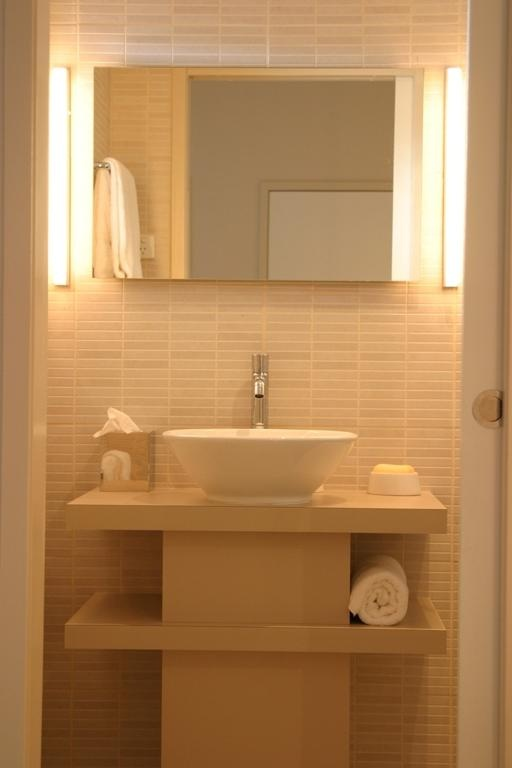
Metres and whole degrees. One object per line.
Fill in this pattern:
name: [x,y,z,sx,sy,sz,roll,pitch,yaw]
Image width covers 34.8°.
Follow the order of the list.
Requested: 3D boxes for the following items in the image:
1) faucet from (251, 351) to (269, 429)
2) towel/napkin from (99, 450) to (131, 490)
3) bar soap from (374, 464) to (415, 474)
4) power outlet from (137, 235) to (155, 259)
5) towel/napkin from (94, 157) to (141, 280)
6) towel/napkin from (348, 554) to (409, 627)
faucet: [0.010,0.014,2.024,0.041,0.178,0.102,0,8,1]
towel/napkin: [-0.325,0.200,1.906,0.079,0.120,0.062,1,2,3]
bar soap: [0.321,0.196,1.927,0.095,0.020,0.097,1,9,5]
power outlet: [-0.282,-0.347,2.077,0.055,0.082,0.009,0,-2,-3]
towel/napkin: [-0.352,-0.418,2.064,0.124,0.293,0.057,-1,8,-10]
towel/napkin: [0.264,0.451,1.770,0.093,0.084,0.177,-12,-2,5]
